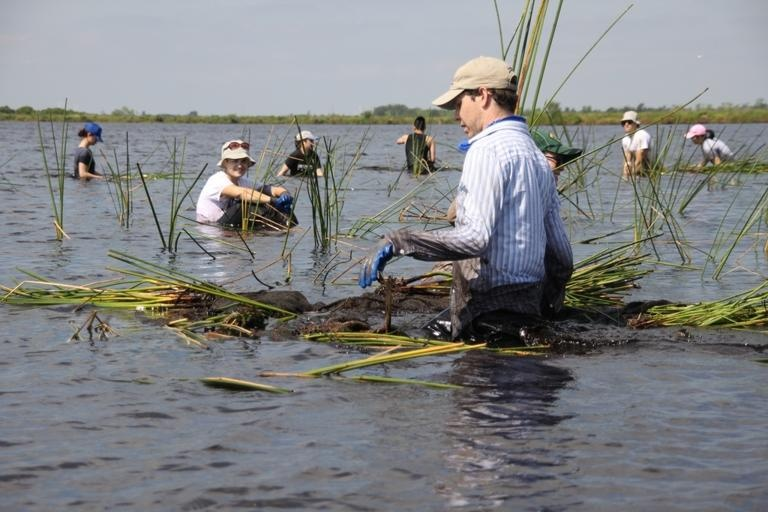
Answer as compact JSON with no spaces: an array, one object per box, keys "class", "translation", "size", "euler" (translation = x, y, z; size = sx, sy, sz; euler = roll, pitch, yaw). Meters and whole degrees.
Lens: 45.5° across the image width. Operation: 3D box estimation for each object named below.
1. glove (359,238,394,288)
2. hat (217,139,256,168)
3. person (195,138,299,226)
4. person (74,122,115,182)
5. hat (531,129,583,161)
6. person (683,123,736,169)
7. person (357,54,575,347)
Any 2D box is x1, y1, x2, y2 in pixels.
[{"class":"glove","translation":[-0.048,0.051,6.351],"size":[0.223,0.338,0.149],"euler":[5,9,17]},{"class":"hat","translation":[-1.793,-1.270,11.119],"size":[0.529,0.207,0.528],"euler":[0,-3,-14]},{"class":"person","translation":[-1.672,-0.874,11.145],"size":[1.324,1.075,0.962],"euler":[7,9,35]},{"class":"person","translation":[-5.143,-1.843,15.871],"size":[0.460,1.032,1.715],"euler":[0,7,-19]},{"class":"hat","translation":[1.468,-0.941,7.798],"size":[0.493,0.132,0.264],"euler":[15,20,16]},{"class":"person","translation":[5.902,-1.959,16.638],"size":[0.853,0.757,0.888],"euler":[-19,21,-35]},{"class":"person","translation":[0.676,-0.384,6.497],"size":[0.772,2.076,0.889],"euler":[8,10,27]}]
